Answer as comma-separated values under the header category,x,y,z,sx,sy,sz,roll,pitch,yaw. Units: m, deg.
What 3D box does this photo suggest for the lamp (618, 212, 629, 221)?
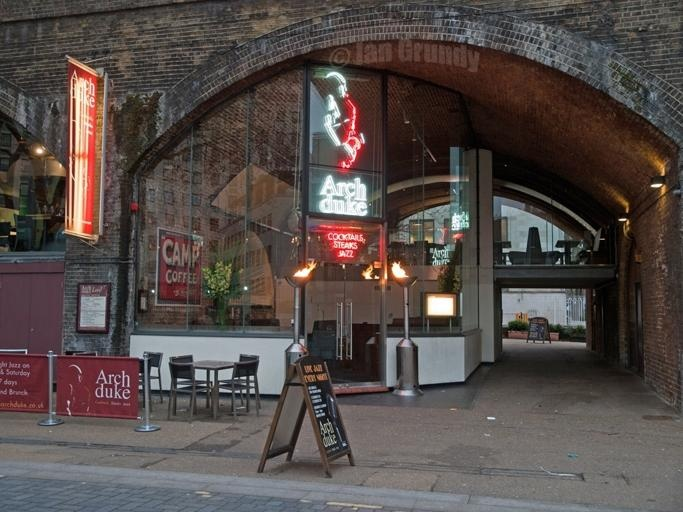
category,x,y,z,sx,sy,sz,roll,pitch,yaw
lamp,7.729,-1.044,22.162,0.223,0.188,0.242,1,-8,-5

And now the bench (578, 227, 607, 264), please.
category,x,y,z,sx,sy,sz,roll,pitch,yaw
bench,8.041,-0.303,26.045,0.900,1.049,0.461,3,6,18

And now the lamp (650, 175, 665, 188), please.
category,x,y,z,sx,sy,sz,roll,pitch,yaw
lamp,6.871,-1.527,17.688,0.214,0.280,0.418,3,-4,8

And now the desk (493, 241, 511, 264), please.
category,x,y,z,sx,sy,sz,roll,pitch,yaw
desk,5.231,-0.091,26.799,0.666,0.778,0.634,4,-5,-37

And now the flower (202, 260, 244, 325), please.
category,x,y,z,sx,sy,sz,roll,pitch,yaw
flower,-2.861,0.848,19.198,0.927,1.504,0.386,4,6,27

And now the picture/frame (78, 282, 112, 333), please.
category,x,y,z,sx,sy,sz,roll,pitch,yaw
picture/frame,-5.840,1.253,19.310,1.066,1.616,0.108,-1,-5,9

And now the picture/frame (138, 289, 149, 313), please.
category,x,y,z,sx,sy,sz,roll,pitch,yaw
picture/frame,-4.770,1.073,19.521,0.293,0.556,0.082,3,6,16

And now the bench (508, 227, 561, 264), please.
category,x,y,z,sx,sy,sz,roll,pitch,yaw
bench,6.314,-0.666,26.746,1.921,1.553,1.025,0,1,18

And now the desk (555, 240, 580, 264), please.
category,x,y,z,sx,sy,sz,roll,pitch,yaw
desk,7.254,-0.143,26.231,0.669,0.709,0.705,2,-8,-2
